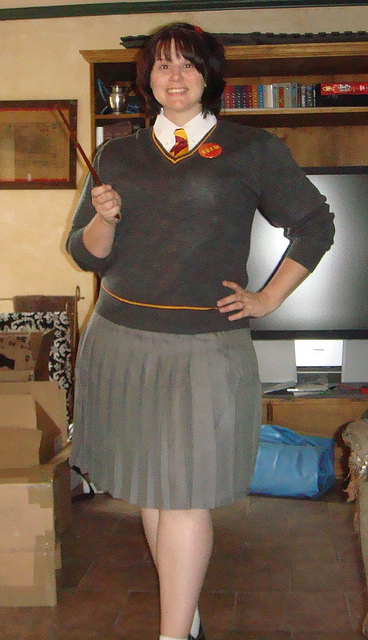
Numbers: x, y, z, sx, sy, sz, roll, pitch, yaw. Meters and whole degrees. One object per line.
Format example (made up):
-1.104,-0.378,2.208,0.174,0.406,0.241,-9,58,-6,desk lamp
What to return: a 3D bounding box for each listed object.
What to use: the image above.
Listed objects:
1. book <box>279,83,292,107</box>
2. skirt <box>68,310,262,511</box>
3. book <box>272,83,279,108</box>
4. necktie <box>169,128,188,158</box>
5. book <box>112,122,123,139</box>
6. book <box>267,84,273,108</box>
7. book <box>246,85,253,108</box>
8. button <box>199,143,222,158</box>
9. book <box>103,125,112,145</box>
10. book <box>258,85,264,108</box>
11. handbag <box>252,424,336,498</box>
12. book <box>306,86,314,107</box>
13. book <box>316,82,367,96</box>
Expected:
0.500,-1.095,2.786,0.043,0.096,0.066,2,41,6,book
-0.040,0.156,1.164,0.379,0.338,0.224,4,-4,21,skirt
0.442,-1.093,2.788,0.036,0.090,0.072,3,41,6,book
-0.007,-0.320,1.041,0.033,0.014,0.052,10,74,5,necktie
-0.333,-0.929,2.814,0.052,0.035,0.173,-7,40,-5,book
0.416,-1.090,2.786,0.032,0.088,0.068,2,41,6,book
0.317,-1.090,2.789,0.032,0.088,0.059,1,41,4,book
0.046,-0.307,1.033,0.041,0.011,0.038,0,40,2,button
-0.386,-0.923,2.847,0.049,0.065,0.139,-8,40,-6,book
0.371,-1.089,2.783,0.028,0.088,0.051,2,41,6,book
0.467,0.593,2.446,0.386,0.136,0.449,-8,6,26,handbag
0.610,-1.084,2.776,0.067,0.081,0.020,-1,6,1,book
0.751,-1.103,2.740,0.242,0.052,0.035,1,41,3,book
